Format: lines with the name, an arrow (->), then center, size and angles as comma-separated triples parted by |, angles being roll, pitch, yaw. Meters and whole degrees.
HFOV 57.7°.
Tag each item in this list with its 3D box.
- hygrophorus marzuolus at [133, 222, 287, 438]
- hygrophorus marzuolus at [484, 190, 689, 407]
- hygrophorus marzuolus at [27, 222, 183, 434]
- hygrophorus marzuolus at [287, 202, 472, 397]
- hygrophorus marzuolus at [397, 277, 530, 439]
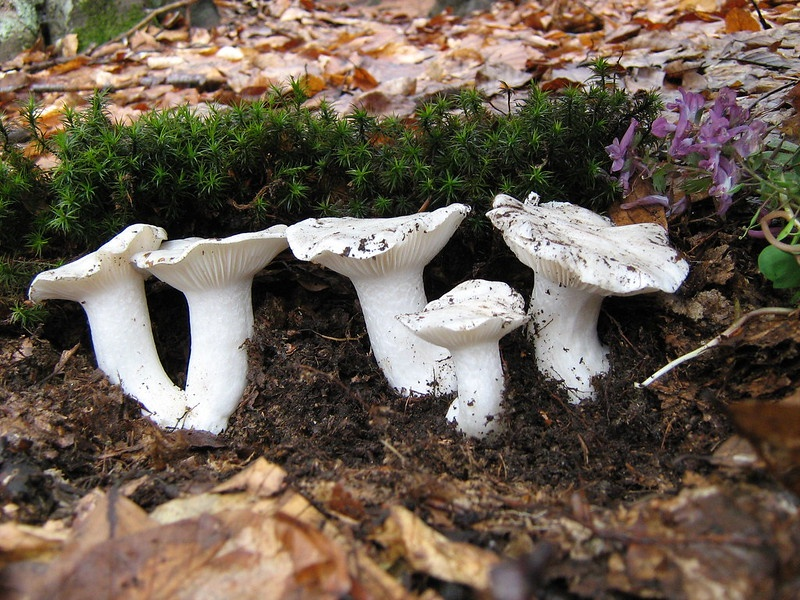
hygrophorus marzuolus -> -1.066, 0.190, 4.246 | 0.995, 1.182, 1.094 | 4, 7, 35
hygrophorus marzuolus -> 0.956, 0.042, 4.031 | 1.003, 0.983, 1.104 | -2, 25, -23
hygrophorus marzuolus -> -1.591, 0.186, 4.122 | 0.796, 1.018, 0.839 | -16, -9, 17
hygrophorus marzuolus -> 0.237, -0.063, 4.002 | 0.837, 1.138, 1.402 | -4, 17, 24
hygrophorus marzuolus -> 0.395, 0.283, 3.816 | 0.530, 0.700, 0.540 | 16, 39, 29
